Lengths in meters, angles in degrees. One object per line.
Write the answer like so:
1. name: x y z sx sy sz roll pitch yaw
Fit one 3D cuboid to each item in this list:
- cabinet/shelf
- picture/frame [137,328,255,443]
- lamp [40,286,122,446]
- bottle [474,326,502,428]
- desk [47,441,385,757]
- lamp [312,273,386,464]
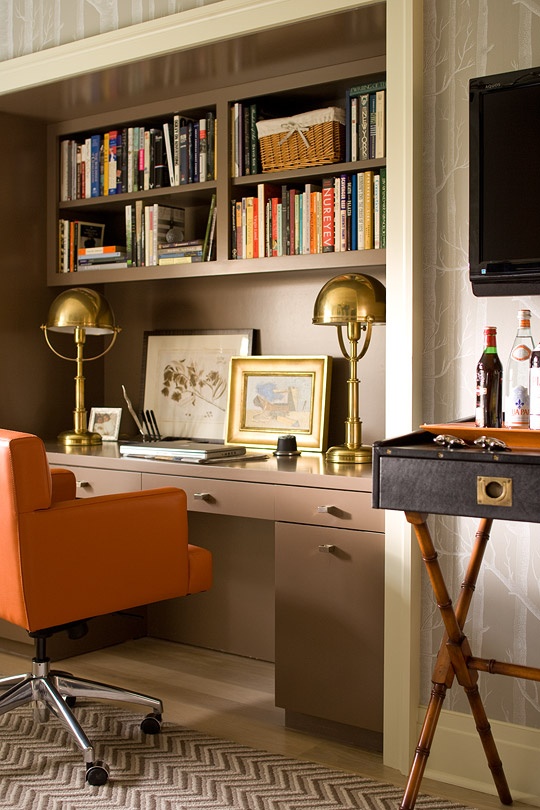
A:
1. cabinet/shelf: -0.125 -0.810 2.572 1.633 0.729 0.241 4 1 28
2. picture/frame: -0.289 -0.074 2.810 0.448 0.405 0.035 4 -1 44
3. lamp: -0.823 -0.155 2.929 0.328 0.680 0.531 1 -5 -13
4. bottle: 0.397 -0.050 1.236 0.040 0.178 0.043 0 -5 0
5. desk: -0.144 0.565 2.216 1.316 0.747 0.466 1 -1 30
6. lamp: 0.259 -0.110 2.237 0.222 0.606 0.401 0 -5 6
